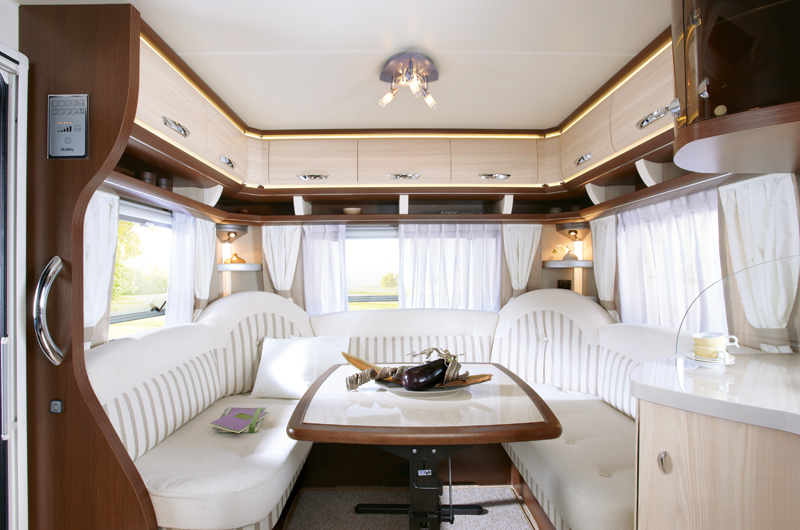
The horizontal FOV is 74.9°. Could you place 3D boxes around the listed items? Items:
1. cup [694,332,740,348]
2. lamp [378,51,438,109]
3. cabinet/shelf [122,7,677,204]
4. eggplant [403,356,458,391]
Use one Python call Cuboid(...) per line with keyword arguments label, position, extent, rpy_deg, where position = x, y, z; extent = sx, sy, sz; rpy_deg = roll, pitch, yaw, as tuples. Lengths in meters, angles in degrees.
Cuboid(label="cup", position=(1.362, 0.312, 2.254), extent=(0.126, 0.051, 0.084), rpy_deg=(1, -3, 22))
Cuboid(label="lamp", position=(0.063, -1.198, 3.330), extent=(0.339, 0.245, 0.334), rpy_deg=(1, 2, 21))
Cuboid(label="cabinet/shelf", position=(0.029, -0.952, 3.728), extent=(3.082, 0.675, 1.281), rpy_deg=(0, -2, -2))
Cuboid(label="eggplant", position=(0.146, 0.622, 2.942), extent=(0.146, 0.100, 0.251), rpy_deg=(-2, -5, 29))
